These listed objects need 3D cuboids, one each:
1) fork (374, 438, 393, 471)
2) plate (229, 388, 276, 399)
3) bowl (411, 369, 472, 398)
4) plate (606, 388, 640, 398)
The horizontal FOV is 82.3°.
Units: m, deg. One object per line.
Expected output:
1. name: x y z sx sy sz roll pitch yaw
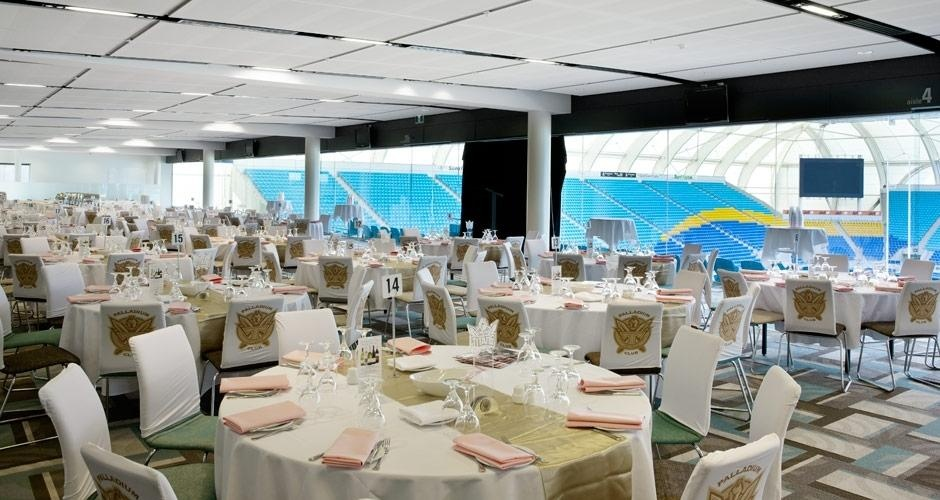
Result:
1. fork: -0.676 1.560 4.112 0.064 0.031 0.226 -4 20 13
2. plate: -1.913 1.246 4.670 0.394 0.047 0.053 -4 -18 -5
3. bowl: -0.278 1.165 4.727 0.574 0.238 0.233 0 2 29
4. plate: 1.376 1.250 4.746 0.319 0.044 0.099 -1 1 -14
